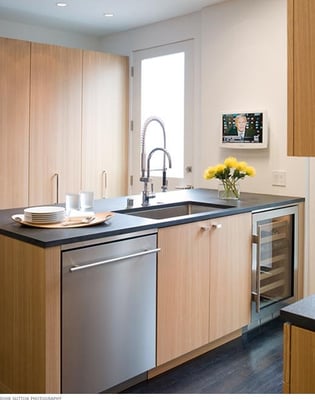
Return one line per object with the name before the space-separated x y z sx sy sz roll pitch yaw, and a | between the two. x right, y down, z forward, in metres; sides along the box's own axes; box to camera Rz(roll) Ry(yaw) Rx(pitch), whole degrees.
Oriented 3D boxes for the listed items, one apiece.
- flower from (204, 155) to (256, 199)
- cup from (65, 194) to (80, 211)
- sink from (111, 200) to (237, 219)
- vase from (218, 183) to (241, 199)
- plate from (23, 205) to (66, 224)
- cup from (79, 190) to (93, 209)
flower | 0.588 -0.170 2.715 0.329 0.308 0.426 2 2 33
cup | -0.481 0.010 1.966 0.074 0.094 0.120 1 2 -14
sink | 0.086 0.075 2.424 0.740 0.114 0.271 1 2 -19
vase | 0.577 -0.059 2.725 0.135 0.106 0.138 -3 5 -26
plate | -0.562 0.072 1.716 0.187 0.064 0.261 1 2 -29
cup | -0.422 -0.009 2.112 0.090 0.113 0.092 1 8 0
